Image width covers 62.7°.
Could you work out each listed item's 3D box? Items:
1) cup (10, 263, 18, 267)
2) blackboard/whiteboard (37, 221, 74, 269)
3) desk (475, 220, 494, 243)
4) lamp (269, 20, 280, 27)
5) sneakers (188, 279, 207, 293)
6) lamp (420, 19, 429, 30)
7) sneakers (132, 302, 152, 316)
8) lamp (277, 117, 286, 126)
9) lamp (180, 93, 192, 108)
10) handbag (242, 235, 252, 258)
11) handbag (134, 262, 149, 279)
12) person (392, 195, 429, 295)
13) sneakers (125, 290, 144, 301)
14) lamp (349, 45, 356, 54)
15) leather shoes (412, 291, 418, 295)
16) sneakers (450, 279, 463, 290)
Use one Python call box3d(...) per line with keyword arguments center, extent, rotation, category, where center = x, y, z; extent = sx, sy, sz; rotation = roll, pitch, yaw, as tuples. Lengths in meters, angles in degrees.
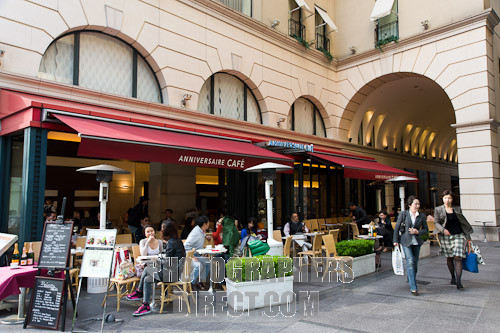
box3d(center=(-5.690, 2.401, 9.959), extent=(0.118, 0.077, 0.122), rotation=(-2, -14, -1), category="cup")
box3d(center=(-4.576, 1.845, 9.682), extent=(0.785, 1.101, 0.151), rotation=(-3, -10, 11), category="blackboard/whiteboard")
box3d(center=(10.062, 2.784, 17.694), extent=(0.759, 0.884, 0.764), rotation=(-4, -8, 34), category="desk")
box3d(center=(1.112, -6.459, 18.594), extent=(0.391, 0.427, 0.349), rotation=(-1, -1, 35), category="lamp")
box3d(center=(-1.494, 3.423, 11.690), extent=(0.475, 0.198, 0.266), rotation=(-1, -4, 27), category="sneakers")
box3d(center=(8.314, -6.677, 19.519), extent=(0.367, 0.651, 0.334), rotation=(-6, -11, 24), category="lamp")
box3d(center=(-2.641, 3.542, 10.152), extent=(0.536, 0.295, 0.181), rotation=(11, -11, -38), category="sneakers")
box3d(center=(1.375, -2.000, 18.583), extent=(0.384, 0.478, 0.323), rotation=(2, 0, 31), category="lamp")
box3d(center=(-2.403, -2.441, 15.307), extent=(0.458, 0.584, 0.404), rotation=(6, 7, 41), category="lamp")
box3d(center=(-0.107, 2.387, 12.237), extent=(0.189, 0.544, 0.407), rotation=(9, -15, -6), category="handbag")
box3d(center=(-2.828, 2.698, 10.779), extent=(0.351, 0.369, 0.354), rotation=(8, 3, -15), category="handbag")
box3d(center=(4.446, 2.147, 11.322), extent=(0.881, 2.617, 0.715), rotation=(-5, -10, 22), category="person")
box3d(center=(-2.991, 3.378, 10.725), extent=(0.569, 0.269, 0.215), rotation=(6, -6, -8), category="sneakers")
box3d(center=(5.399, -6.084, 21.572), extent=(0.305, 0.449, 0.437), rotation=(-3, 14, 15), category="lamp")
box3d(center=(4.396, 3.374, 10.982), extent=(0.178, 0.121, 0.196), rotation=(-5, -11, 18), category="leather shoes")
box3d(center=(5.768, 3.290, 11.461), extent=(0.142, 0.193, 0.453), rotation=(-2, -21, 3), category="sneakers")
